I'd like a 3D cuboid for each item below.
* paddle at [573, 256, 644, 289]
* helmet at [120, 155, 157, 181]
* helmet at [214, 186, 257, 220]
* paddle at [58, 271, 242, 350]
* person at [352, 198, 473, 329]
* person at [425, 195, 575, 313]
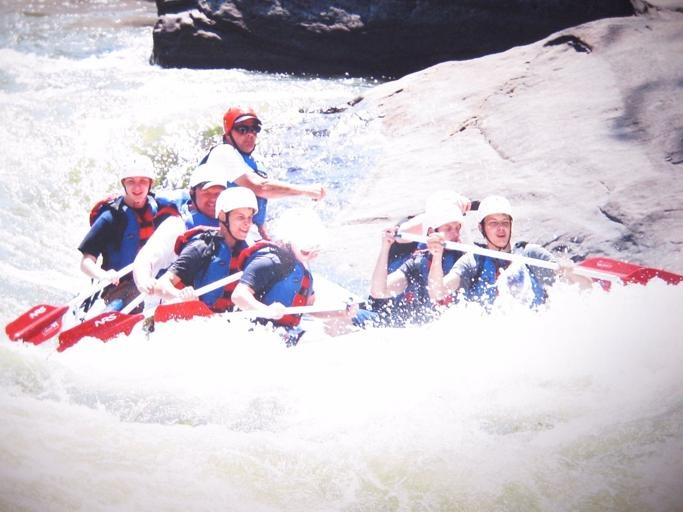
[{"bbox_3d":[1.443,0.095,4.330,0.233,0.054,0.170,12,55,5],"label":"paddle"},{"bbox_3d":[-1.103,-0.474,4.213,0.122,0.132,0.166,1,-21,-10],"label":"helmet"},{"bbox_3d":[-0.561,-0.293,4.119,0.195,0.149,0.144,-28,-12,20],"label":"helmet"},{"bbox_3d":[-1.016,0.291,4.169,0.927,0.055,0.226,-16,52,-10],"label":"paddle"},{"bbox_3d":[0.419,0.048,4.263,0.595,0.755,0.270,-6,24,-38],"label":"person"},{"bbox_3d":[0.860,0.018,4.272,0.571,0.741,0.269,-6,-3,-12],"label":"person"}]
